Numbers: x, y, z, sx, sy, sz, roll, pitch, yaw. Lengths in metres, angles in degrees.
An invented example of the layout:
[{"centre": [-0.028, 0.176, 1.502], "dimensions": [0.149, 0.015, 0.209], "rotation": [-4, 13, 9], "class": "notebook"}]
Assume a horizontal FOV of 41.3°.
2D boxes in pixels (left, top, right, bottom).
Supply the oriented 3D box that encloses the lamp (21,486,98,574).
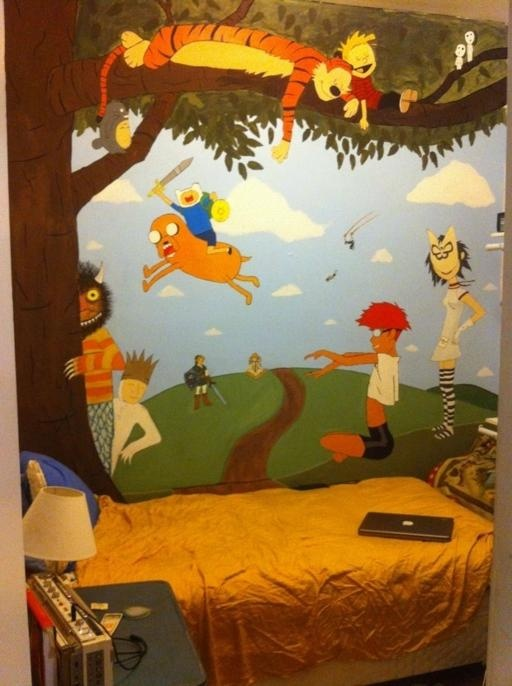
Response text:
[{"centre": [-0.584, 0.559, 2.026], "dimensions": [0.207, 0.262, 0.187], "rotation": [2, 5, 15], "class": "lamp"}]
